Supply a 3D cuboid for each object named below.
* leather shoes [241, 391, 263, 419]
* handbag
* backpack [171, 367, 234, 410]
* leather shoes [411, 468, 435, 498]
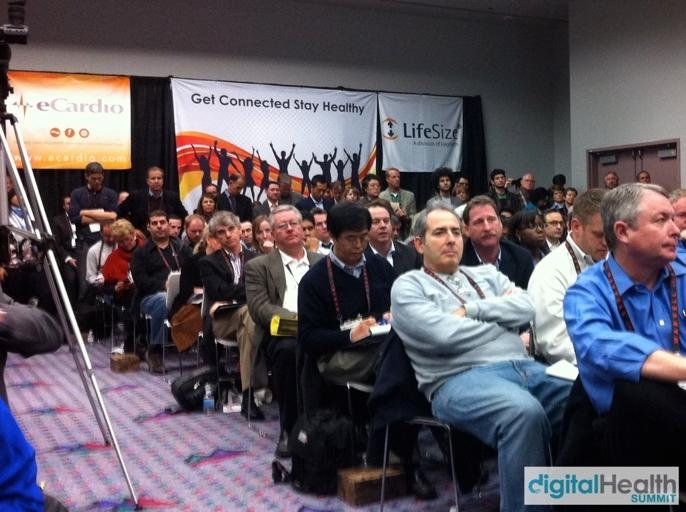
[{"bbox_3d":[-0.776,1.241,5.235,0.130,0.238,0.330,2,-7,-22],"label":"leather shoes"},{"bbox_3d":[-0.123,1.173,4.003,0.435,0.479,0.446,1,6,5],"label":"handbag"},{"bbox_3d":[-1.239,1.142,5.553,0.383,0.431,0.371,-3,12,-36],"label":"backpack"},{"bbox_3d":[0.469,1.349,3.793,0.095,0.075,0.176,7,11,-8],"label":"leather shoes"}]
